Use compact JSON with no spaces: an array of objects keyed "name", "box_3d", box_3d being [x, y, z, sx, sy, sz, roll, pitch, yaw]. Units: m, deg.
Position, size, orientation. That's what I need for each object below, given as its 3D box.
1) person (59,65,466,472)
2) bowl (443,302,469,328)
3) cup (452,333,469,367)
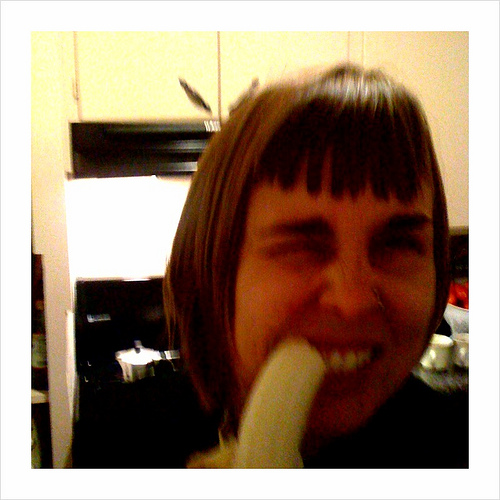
[{"name":"person","box_3d":[0.237,0.127,1.582,1.198,1.281,0.733,0,-1,-10]},{"name":"bowl","box_3d":[0.553,0.172,1.312,0.059,0.052,0.055,-3,0,0]},{"name":"cup","box_3d":[0.565,0.264,1.314,0.050,0.081,0.028,-1,3,0]}]
